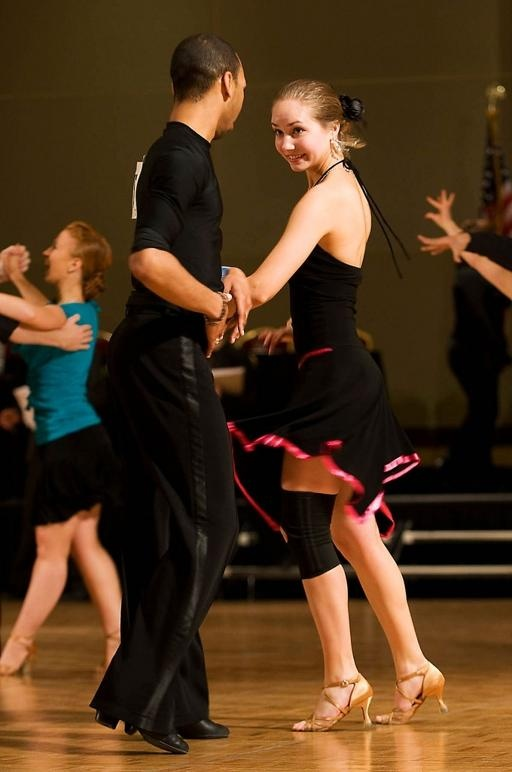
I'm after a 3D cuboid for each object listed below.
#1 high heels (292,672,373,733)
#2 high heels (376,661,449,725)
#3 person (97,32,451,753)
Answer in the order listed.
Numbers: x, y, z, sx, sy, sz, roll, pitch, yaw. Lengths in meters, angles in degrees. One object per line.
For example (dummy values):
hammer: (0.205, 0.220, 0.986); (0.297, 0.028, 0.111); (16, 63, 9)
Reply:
high heels: (0.180, 0.691, 1.667); (0.218, 0.127, 0.086); (-3, -1, -9)
high heels: (0.347, 0.696, 1.696); (0.166, 0.110, 0.068); (-11, -10, 8)
person: (0.011, 0.074, 1.612); (0.847, 1.571, 0.444); (-1, 6, -34)
